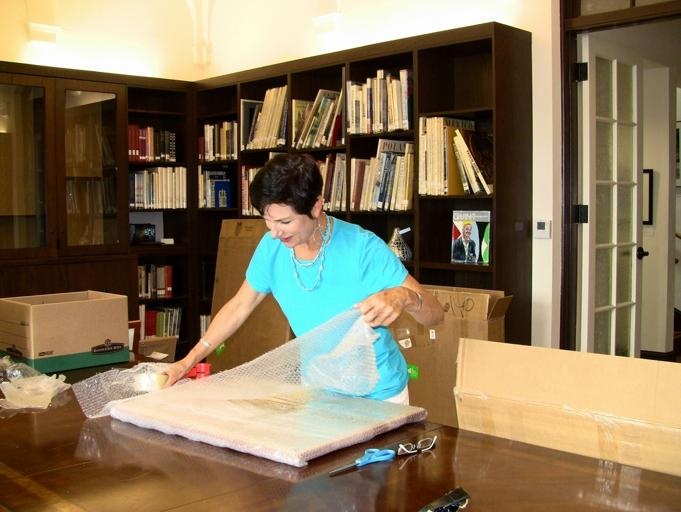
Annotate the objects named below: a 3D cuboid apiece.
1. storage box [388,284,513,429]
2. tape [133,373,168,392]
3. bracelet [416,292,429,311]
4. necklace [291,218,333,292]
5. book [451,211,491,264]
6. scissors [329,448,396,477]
[{"bbox_3d":[0.752,0.520,3.212,0.180,0.562,0.526,1,5,-38],"label":"storage box"},{"bbox_3d":[-0.647,0.410,1.775,0.067,0.040,0.071,0,-5,0],"label":"tape"},{"bbox_3d":[0.257,0.144,1.688,0.012,0.046,0.045,3,7,-9],"label":"bracelet"},{"bbox_3d":[-0.087,-0.015,1.888,0.138,0.268,0.051,-1,4,22],"label":"necklace"},{"bbox_3d":[0.862,-0.117,3.453,0.042,0.430,0.297,2,2,-41],"label":"book"},{"bbox_3d":[0.055,0.454,1.230,0.145,0.017,0.053,-13,19,-43],"label":"scissors"}]
